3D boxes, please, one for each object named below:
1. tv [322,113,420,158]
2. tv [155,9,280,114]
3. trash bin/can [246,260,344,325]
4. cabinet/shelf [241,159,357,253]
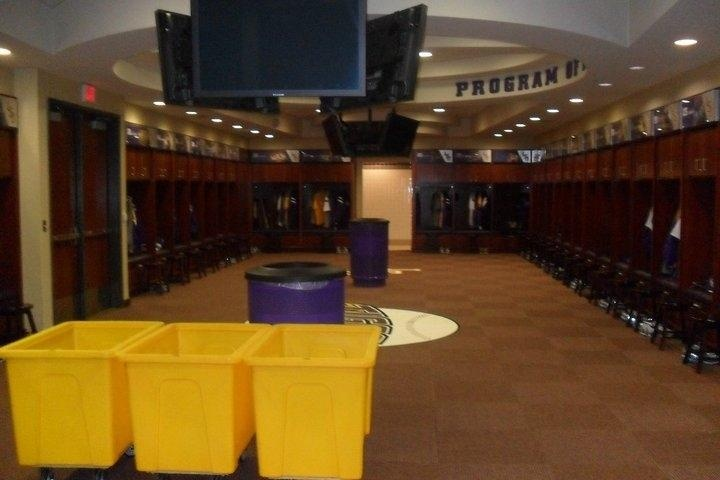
[{"bbox_3d":[0.261,-2.218,10.101,1.909,0.845,0.884,0,6,0],"label":"tv"},{"bbox_3d":[-1.132,-1.699,4.737,1.313,0.905,1.162,3,8,7],"label":"tv"},{"bbox_3d":[-0.553,0.425,4.389,0.686,0.419,0.644,-1,2,3],"label":"trash bin/can"},{"bbox_3d":[-1.911,-1.069,15.253,3.297,2.667,1.065,1,10,2],"label":"cabinet/shelf"}]
